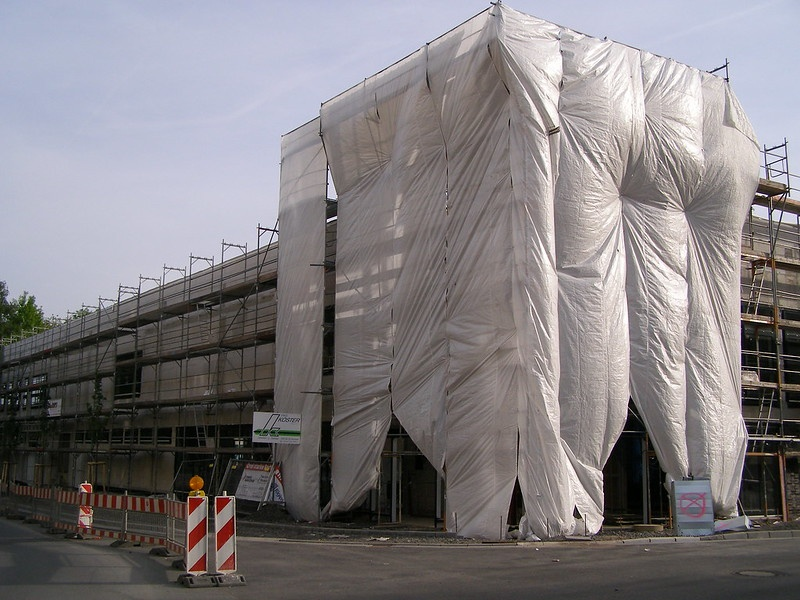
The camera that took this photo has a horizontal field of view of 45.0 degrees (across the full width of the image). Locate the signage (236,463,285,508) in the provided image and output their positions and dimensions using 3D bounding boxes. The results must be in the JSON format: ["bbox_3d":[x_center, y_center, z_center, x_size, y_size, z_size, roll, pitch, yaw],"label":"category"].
[{"bbox_3d":[-5.385,6.785,35.987,0.828,1.790,2.401,6,-10,-42],"label":"signage"}]

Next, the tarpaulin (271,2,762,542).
[{"bbox_3d":[5.768,-0.018,39.756,16.907,20.623,16.698,6,-8,-42],"label":"tarpaulin"}]
